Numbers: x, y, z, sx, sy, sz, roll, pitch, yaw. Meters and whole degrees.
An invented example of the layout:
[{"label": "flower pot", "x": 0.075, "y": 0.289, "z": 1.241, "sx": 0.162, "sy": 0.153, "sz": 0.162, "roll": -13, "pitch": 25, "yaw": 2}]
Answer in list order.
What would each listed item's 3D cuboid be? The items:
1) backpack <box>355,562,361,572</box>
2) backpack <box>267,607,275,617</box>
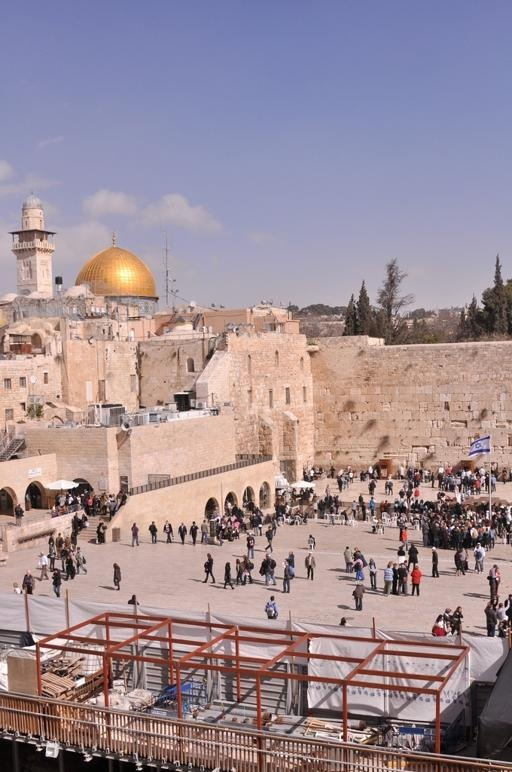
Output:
[{"label": "backpack", "x": 2.150, "y": 3.823, "z": 30.442, "sx": 0.144, "sy": 0.216, "sz": 0.112, "roll": 5, "pitch": 15, "yaw": 20}, {"label": "backpack", "x": 0.259, "y": 4.209, "z": 26.903, "sx": 0.133, "sy": 0.208, "sz": 0.060, "roll": -2, "pitch": -2, "yaw": 5}]
